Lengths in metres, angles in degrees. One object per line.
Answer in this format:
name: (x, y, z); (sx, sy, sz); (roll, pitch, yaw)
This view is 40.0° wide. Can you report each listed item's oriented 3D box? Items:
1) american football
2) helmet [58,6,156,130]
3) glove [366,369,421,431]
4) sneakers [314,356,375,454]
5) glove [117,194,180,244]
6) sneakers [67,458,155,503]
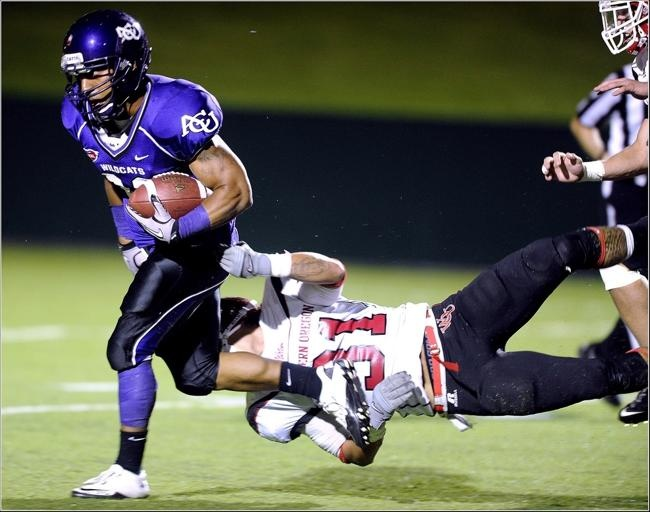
american football: (-0.696, -0.270, 3.938); (0.253, 0.260, 0.475); (21, 18, 33)
helmet: (-0.949, -0.817, 3.904); (0.371, 0.501, 0.203); (-4, 13, -15)
glove: (0.301, 0.628, 3.888); (0.230, 0.285, 0.174); (-1, 13, -3)
sneakers: (0.083, 0.636, 3.887); (0.238, 0.368, 0.155); (1, 13, 5)
glove: (-0.738, -0.144, 3.826); (0.231, 0.181, 0.069); (1, 13, 4)
sneakers: (-0.886, 0.966, 3.772); (0.280, 0.101, 0.150); (3, -14, -4)
